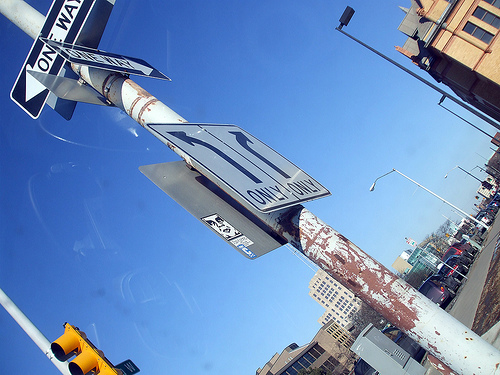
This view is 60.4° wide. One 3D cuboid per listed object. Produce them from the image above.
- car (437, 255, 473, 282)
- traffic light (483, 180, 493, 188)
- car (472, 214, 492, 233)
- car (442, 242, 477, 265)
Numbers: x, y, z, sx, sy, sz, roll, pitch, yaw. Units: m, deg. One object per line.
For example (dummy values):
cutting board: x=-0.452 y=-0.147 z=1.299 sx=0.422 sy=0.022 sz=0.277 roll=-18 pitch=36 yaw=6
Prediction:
car: x=17.613 y=6.777 z=37.470 sx=2.894 sy=1.439 sz=4.784 roll=-3 pitch=-2 yaw=39
traffic light: x=30.687 y=-0.455 z=55.440 sx=0.478 sy=1.465 sz=1.182 roll=-46 pitch=-17 yaw=14
car: x=22.475 y=3.397 z=41.693 sx=1.663 sy=0.930 sz=5.691 roll=-51 pitch=-18 yaw=15
car: x=19.130 y=5.698 z=38.916 sx=3.635 sy=1.210 sz=1.729 roll=-2 pitch=-53 yaw=-59
